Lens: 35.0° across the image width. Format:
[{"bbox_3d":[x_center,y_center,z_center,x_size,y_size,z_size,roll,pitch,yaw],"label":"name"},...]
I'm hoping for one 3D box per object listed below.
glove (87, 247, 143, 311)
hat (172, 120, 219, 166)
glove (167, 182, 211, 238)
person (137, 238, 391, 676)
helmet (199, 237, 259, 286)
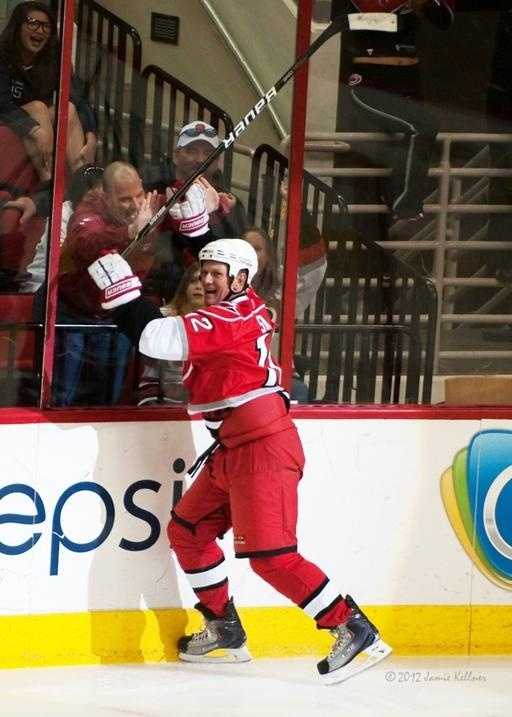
[{"bbox_3d":[-0.463,-0.242,2.585,0.178,0.174,0.068,-25,3,-1],"label":"glove"},{"bbox_3d":[-0.217,-0.763,2.860,0.160,0.109,0.186,3,7,-5],"label":"hat"},{"bbox_3d":[-0.257,-0.538,2.956,0.157,0.192,0.085,-29,21,0],"label":"glove"},{"bbox_3d":[0.017,0.373,2.771,0.853,1.530,0.390,8,8,8],"label":"person"},{"bbox_3d":[-0.099,-0.341,2.812,0.195,0.130,0.141,7,3,-34],"label":"helmet"}]
